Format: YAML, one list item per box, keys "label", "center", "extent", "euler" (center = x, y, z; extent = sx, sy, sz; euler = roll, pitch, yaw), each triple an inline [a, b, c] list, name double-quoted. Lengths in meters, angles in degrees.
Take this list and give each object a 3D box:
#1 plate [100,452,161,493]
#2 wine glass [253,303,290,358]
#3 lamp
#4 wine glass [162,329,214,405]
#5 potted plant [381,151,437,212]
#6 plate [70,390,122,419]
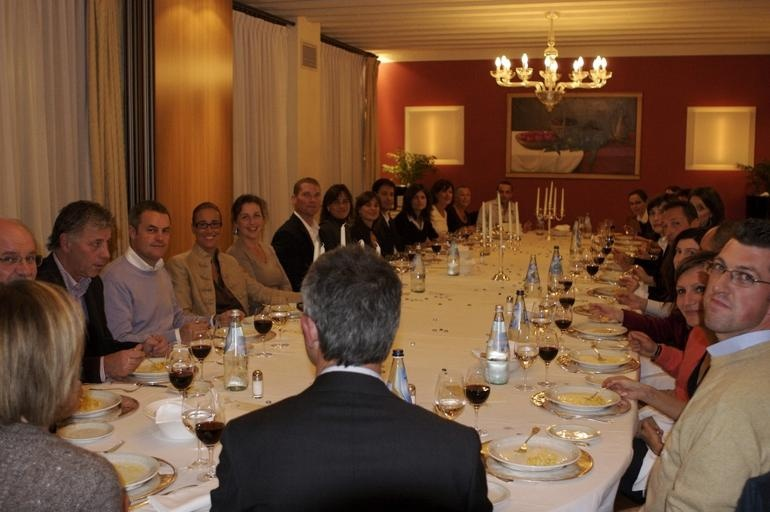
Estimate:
- label: "plate"
  center: [-0.843, 0.703, 2.034]
  extent: [0.176, 0.043, 0.180]
  euler: [6, 9, -27]
- label: "wine glass"
  center: [-0.588, 0.403, 3.379]
  extent: [0.216, 0.323, 0.203]
  euler: [2, 1, 6]
- label: "lamp"
  center: [2.046, -2.412, 7.733]
  extent: [1.484, 1.203, 1.522]
  euler: [-2, 16, -8]
- label: "wine glass"
  center: [-0.833, 0.480, 2.652]
  extent: [0.168, 0.423, 0.195]
  euler: [3, 6, 16]
- label: "potted plant"
  center: [0.389, -1.447, 11.634]
  extent: [1.163, 1.060, 1.172]
  euler: [2, 2, 9]
- label: "plate"
  center: [-1.135, 0.589, 2.468]
  extent: [0.117, 0.021, 0.116]
  euler: [-3, 16, -20]
